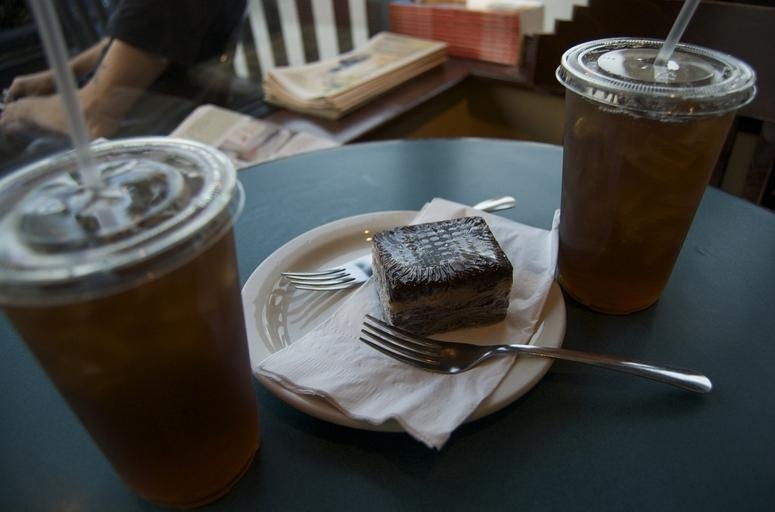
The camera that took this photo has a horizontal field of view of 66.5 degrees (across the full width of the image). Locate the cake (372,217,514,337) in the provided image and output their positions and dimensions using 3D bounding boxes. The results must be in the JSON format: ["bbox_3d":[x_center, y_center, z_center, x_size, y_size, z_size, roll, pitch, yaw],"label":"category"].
[{"bbox_3d":[0.086,0.031,0.986,0.217,0.121,0.166,-11,39,-14],"label":"cake"}]

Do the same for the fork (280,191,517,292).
[{"bbox_3d":[0.019,-0.022,1.025,0.410,0.048,0.052,-18,53,-23],"label":"fork"}]
